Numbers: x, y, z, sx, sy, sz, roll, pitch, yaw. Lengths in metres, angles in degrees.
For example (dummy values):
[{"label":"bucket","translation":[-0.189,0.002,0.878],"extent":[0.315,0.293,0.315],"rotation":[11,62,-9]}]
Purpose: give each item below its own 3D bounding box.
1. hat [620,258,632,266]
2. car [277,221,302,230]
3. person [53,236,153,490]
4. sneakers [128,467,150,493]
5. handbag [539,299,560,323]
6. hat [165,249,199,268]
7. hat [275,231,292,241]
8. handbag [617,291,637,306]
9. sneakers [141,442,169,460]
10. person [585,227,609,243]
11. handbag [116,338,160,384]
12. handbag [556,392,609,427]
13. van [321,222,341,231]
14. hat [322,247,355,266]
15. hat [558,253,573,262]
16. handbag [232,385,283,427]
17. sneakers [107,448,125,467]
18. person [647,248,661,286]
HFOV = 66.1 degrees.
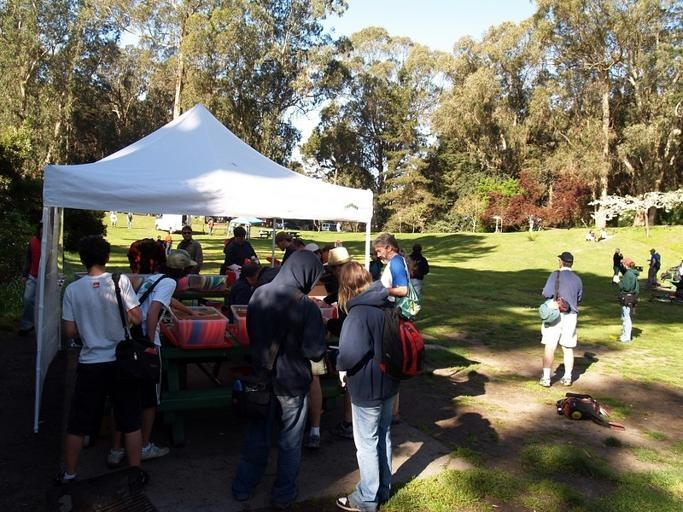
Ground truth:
[{"label":"hat","translation":[6.494,0.100,11.993],"extent":[0.203,0.108,0.245],"rotation":[8,-10,13]},{"label":"car","translation":[-7.082,-4.121,70.472],"extent":[1.745,0.945,3.061],"rotation":[5,10,15]},{"label":"person","translation":[-2.389,1.046,5.287],"extent":[0.867,2.496,0.331],"rotation":[0,3,0]},{"label":"sneakers","translation":[-2.028,2.211,5.223],"extent":[0.175,0.231,0.090],"rotation":[10,-5,-25]},{"label":"handbag","translation":[3.334,0.910,8.597],"extent":[0.280,0.394,0.396],"rotation":[2,-1,28]},{"label":"hat","translation":[-1.946,0.049,6.427],"extent":[0.284,0.153,0.217],"rotation":[-7,20,-32]},{"label":"hat","translation":[-0.996,-0.329,8.901],"extent":[0.231,0.175,0.317],"rotation":[-3,15,-27]},{"label":"handbag","translation":[6.454,0.976,11.845],"extent":[0.196,0.186,0.261],"rotation":[6,-8,-14]},{"label":"sneakers","translation":[-2.100,2.185,5.943],"extent":[0.304,0.139,0.110],"rotation":[-1,3,-30]},{"label":"person","translation":[16.199,-1.277,33.631],"extent":[1.041,0.585,1.308],"rotation":[1,-3,15]},{"label":"handbag","translation":[-2.023,1.021,5.264],"extent":[0.455,0.488,0.329],"rotation":[1,0,-29]},{"label":"handbag","translation":[3.428,2.202,7.581],"extent":[0.447,0.223,0.395],"rotation":[-2,-2,20]},{"label":"van","translation":[-1.558,-3.977,70.244],"extent":[2.133,1.115,1.439],"rotation":[0,6,10]},{"label":"hat","translation":[-0.071,-0.015,7.284],"extent":[0.222,0.159,0.290],"rotation":[-7,-4,-33]},{"label":"hat","translation":[3.646,0.014,8.637],"extent":[0.188,0.143,0.268],"rotation":[4,18,-2]},{"label":"handbag","translation":[-0.818,1.433,5.047],"extent":[0.381,0.289,0.370],"rotation":[2,5,-18]},{"label":"sneakers","translation":[-2.442,2.154,5.671],"extent":[0.102,0.097,0.219],"rotation":[6,10,-3]},{"label":"person","translation":[13.262,0.447,22.434],"extent":[0.387,1.580,2.693],"rotation":[2,4,30]}]
